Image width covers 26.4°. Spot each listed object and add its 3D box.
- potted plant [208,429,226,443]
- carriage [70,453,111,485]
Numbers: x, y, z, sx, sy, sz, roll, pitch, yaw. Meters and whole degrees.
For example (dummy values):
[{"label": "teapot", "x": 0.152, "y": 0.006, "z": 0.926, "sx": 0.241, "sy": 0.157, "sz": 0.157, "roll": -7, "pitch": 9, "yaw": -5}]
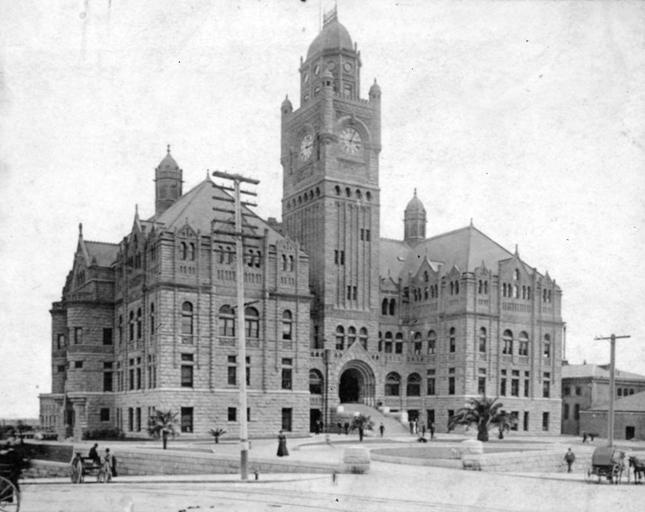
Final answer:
[{"label": "potted plant", "x": -8.849, "y": 14.755, "z": 114.014, "sx": 1.655, "sy": 1.285, "sz": 1.574, "roll": 0, "pitch": -16, "yaw": -2}, {"label": "carriage", "x": -15.323, "y": 13.821, "z": 88.936, "sx": 1.900, "sy": 1.579, "sz": 3.073, "roll": 4, "pitch": -23, "yaw": -21}]
